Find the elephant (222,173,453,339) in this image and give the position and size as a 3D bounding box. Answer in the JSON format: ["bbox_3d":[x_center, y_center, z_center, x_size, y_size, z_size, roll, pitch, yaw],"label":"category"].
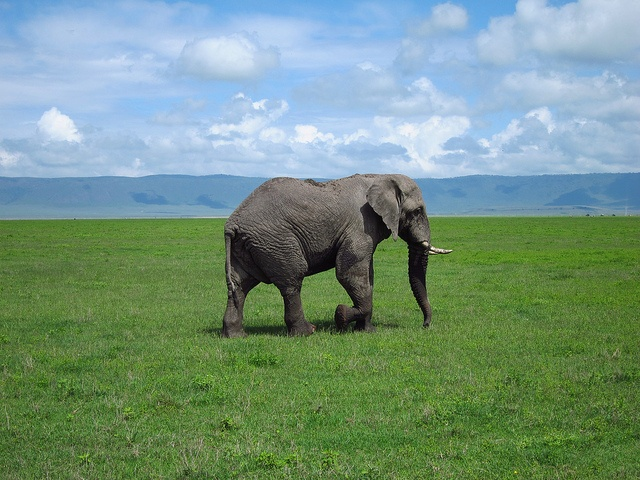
[{"bbox_3d":[0.465,0.509,19.728,6.307,4.862,3.036,-1,5,-11],"label":"elephant"}]
